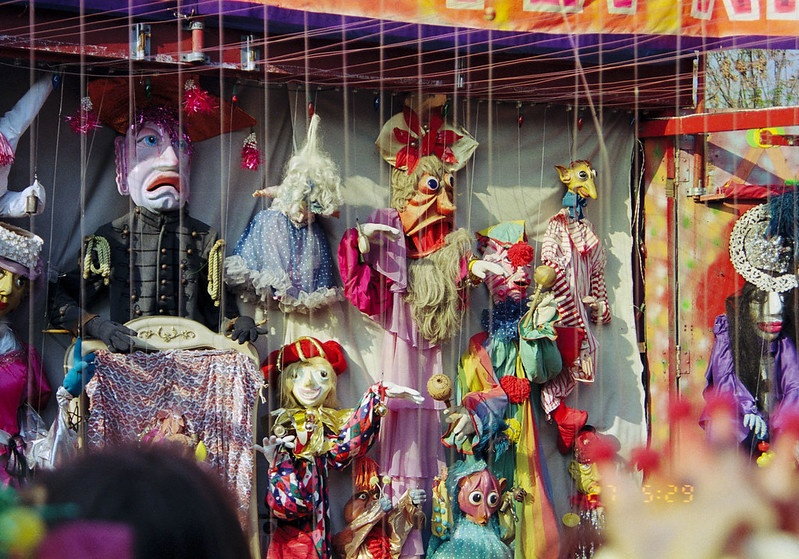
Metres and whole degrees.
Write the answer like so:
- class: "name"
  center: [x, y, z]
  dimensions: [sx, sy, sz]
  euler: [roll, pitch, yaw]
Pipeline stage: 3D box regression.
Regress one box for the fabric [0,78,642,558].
- class: "fabric"
  center: [-0.588, 0.239, 8.702]
  dimensions: [3.005, 2.502, 0.377]
  euler: [1, -1, -13]
